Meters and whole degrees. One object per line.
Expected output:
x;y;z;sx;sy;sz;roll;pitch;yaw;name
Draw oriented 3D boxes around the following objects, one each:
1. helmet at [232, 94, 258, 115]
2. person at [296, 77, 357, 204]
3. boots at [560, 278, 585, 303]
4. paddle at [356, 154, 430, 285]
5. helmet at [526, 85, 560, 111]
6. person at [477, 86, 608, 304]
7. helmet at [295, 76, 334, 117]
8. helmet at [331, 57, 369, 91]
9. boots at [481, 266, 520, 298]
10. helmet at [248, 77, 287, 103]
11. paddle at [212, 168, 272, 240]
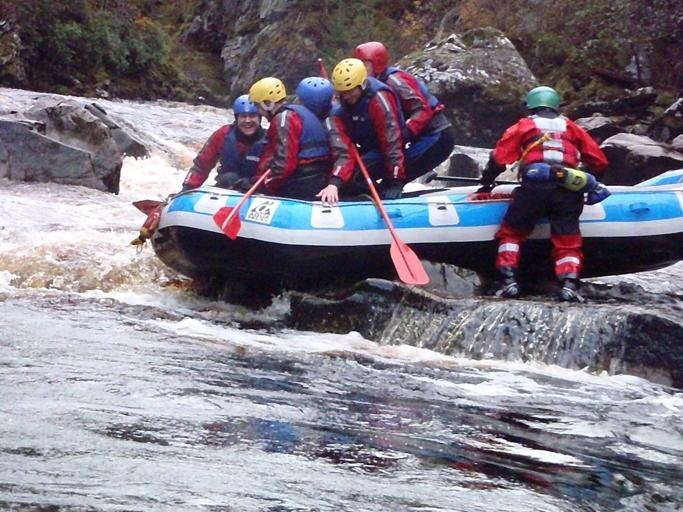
-1.080;-1.659;9.355;0.224;0.248;0.212;-2;30;-6;helmet
-0.167;-1.217;8.829;0.558;1.386;0.939;-16;30;-13;person
2.194;0.331;7.985;0.227;0.213;0.245;4;14;8;boots
0.332;-0.453;8.523;0.321;0.086;1.995;-16;48;-24;paddle
2.050;-1.591;8.537;0.280;0.217;0.313;5;18;8;helmet
1.964;-0.624;8.234;1.205;1.985;1.033;7;16;17;person
-0.265;-1.696;9.091;0.484;0.347;0.328;11;36;17;helmet
0.044;-1.878;8.711;0.317;0.280;0.390;2;27;30;helmet
1.564;0.279;8.374;0.217;0.203;0.486;3;5;-5;boots
-0.800;-1.782;9.148;0.393;0.264;0.264;-20;25;3;helmet
-0.980;-0.515;8.504;0.058;0.243;0.860;31;63;36;paddle
